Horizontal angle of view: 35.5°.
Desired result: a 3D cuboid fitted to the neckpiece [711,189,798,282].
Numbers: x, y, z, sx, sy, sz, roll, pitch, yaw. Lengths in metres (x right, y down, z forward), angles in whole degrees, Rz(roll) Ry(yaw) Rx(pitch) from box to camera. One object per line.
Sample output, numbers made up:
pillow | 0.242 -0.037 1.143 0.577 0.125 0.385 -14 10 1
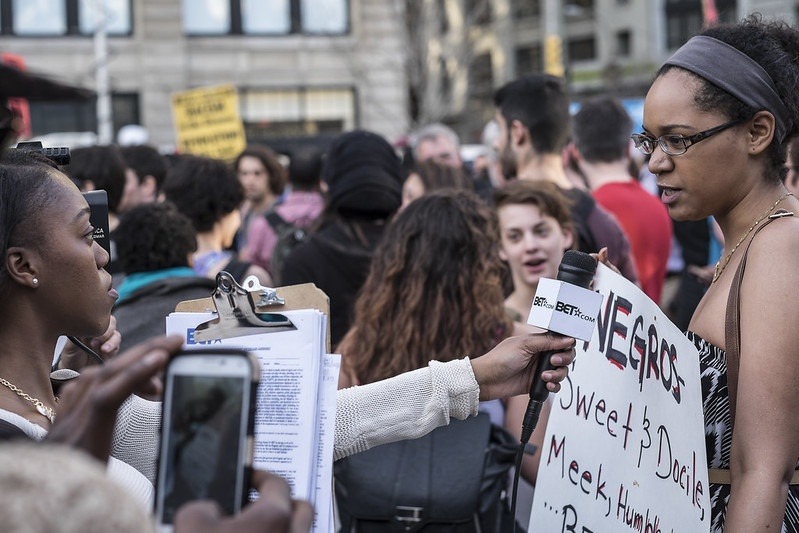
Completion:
neckpiece | 1.659 -0.144 5.964 0.306 0.496 0.127 33 21 -22

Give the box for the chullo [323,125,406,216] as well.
chullo | -0.219 -0.506 6.678 0.433 0.534 0.581 -2 -17 -12

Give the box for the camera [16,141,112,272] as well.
camera | -1.542 -0.344 6.035 0.469 0.737 0.165 0 8 1

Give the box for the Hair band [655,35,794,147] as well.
Hair band | 1.537 -0.835 5.880 0.575 0.506 0.167 0 7 17

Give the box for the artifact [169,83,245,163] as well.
artifact | -1.461 -1.119 9.691 0.569 0.634 0.602 -7 3 26

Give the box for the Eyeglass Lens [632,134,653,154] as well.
Eyeglass Lens | 1.173 -0.593 6.006 0.089 0.037 0.089 10 7 -16
